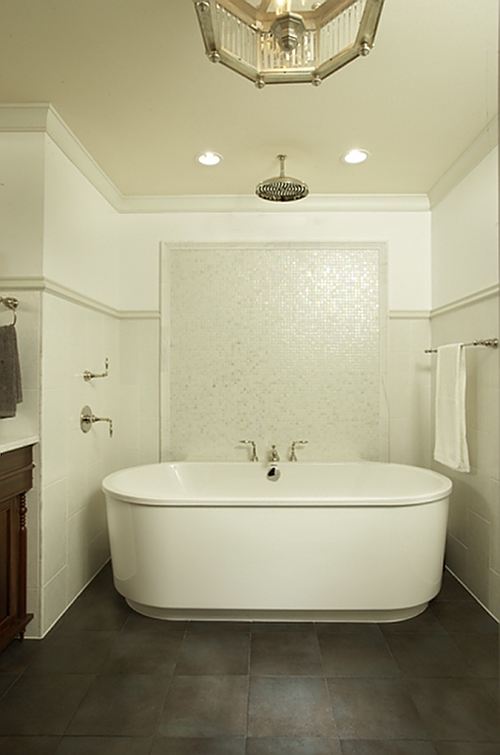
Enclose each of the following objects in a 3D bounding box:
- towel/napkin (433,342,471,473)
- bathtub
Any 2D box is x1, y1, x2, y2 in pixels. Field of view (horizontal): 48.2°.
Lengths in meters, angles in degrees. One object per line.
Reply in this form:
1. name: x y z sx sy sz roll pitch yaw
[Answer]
1. towel/napkin: 1.054 0.141 2.917 0.100 0.633 0.416 0 4 7
2. bathtub: 0.129 0.780 2.935 1.681 0.587 0.965 0 4 1
